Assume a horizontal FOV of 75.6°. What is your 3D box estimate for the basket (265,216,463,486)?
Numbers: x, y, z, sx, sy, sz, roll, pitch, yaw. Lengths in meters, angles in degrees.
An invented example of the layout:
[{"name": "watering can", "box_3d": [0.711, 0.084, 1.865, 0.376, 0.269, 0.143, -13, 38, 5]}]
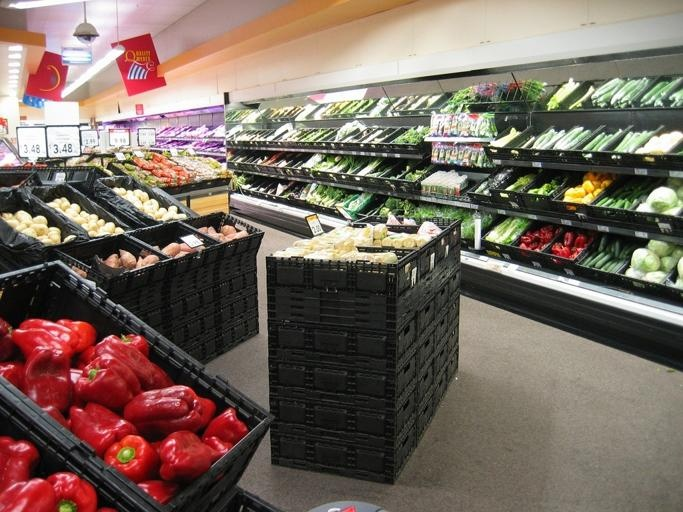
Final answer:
[{"name": "basket", "box_3d": [0.050, 0.525, 2.971, 1.279, 1.297, 1.456, 5, 12, 16]}]
